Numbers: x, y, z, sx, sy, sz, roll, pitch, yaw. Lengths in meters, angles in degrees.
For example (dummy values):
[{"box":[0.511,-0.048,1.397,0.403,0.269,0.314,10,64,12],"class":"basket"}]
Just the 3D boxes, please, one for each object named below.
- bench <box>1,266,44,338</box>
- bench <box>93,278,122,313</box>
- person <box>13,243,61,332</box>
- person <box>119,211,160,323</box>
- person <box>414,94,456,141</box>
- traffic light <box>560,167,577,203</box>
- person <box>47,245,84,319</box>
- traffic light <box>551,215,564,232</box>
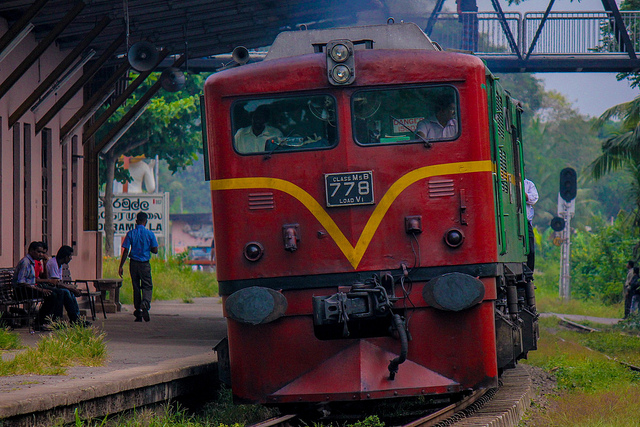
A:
[{"box":[-5.848,1.762,18.713,0.449,0.797,1.258,-1,-1,-2],"class":"bench"},{"box":[-5.197,2.028,23.184,0.605,0.820,0.828,2,-3,-3],"class":"bench"},{"box":[-5.575,1.481,18.735,0.767,1.756,0.788,4,-8,-39],"class":"person"},{"box":[-3.930,1.199,20.746,0.781,2.405,1.058,0,-6,-10],"class":"person"},{"box":[1.785,-1.427,14.425,0.639,0.842,0.452,1,-5,-9],"class":"person"},{"box":[7.583,-0.842,28.976,0.571,1.078,0.451,-5,-7,32],"class":"traffic light"},{"box":[-5.359,1.470,19.908,0.655,1.195,1.615,1,-2,0],"class":"person"},{"box":[7.386,0.335,29.470,0.380,0.489,0.685,-3,-7,13],"class":"traffic light"}]
